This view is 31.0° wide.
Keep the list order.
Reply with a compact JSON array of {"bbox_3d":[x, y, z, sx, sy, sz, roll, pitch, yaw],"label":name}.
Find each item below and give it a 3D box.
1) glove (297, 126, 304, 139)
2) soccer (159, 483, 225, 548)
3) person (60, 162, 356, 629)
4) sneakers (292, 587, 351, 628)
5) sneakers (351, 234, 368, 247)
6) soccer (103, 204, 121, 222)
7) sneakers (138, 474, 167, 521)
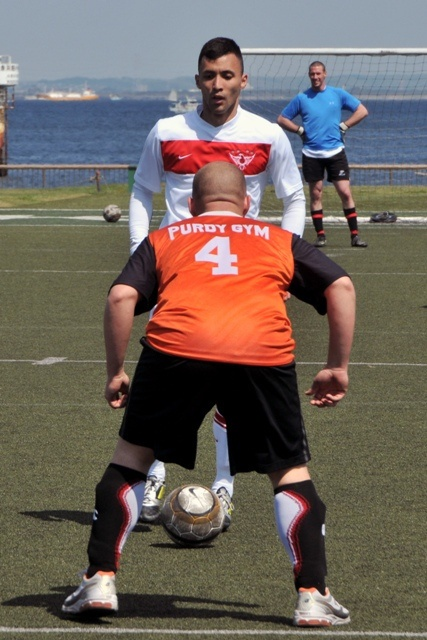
[{"bbox_3d":[1.263,-2.772,11.350,0.117,0.147,0.072,-8,11,-27],"label":"glove"},{"bbox_3d":[-0.093,0.705,2.874,0.223,0.158,0.203,-3,27,-23],"label":"soccer"},{"bbox_3d":[-0.007,0.201,2.379,0.927,1.371,0.457,-1,10,-11],"label":"person"},{"bbox_3d":[0.312,0.844,2.295,0.078,0.088,0.207,-3,-6,44],"label":"sneakers"},{"bbox_3d":[2.298,-1.239,12.202,0.122,0.137,0.313,-3,4,-15],"label":"sneakers"},{"bbox_3d":[-2.043,-2.165,15.492,0.353,0.355,0.344,5,45,-9],"label":"soccer"},{"bbox_3d":[-0.270,0.794,3.475,0.105,0.117,0.290,3,4,9],"label":"sneakers"}]
